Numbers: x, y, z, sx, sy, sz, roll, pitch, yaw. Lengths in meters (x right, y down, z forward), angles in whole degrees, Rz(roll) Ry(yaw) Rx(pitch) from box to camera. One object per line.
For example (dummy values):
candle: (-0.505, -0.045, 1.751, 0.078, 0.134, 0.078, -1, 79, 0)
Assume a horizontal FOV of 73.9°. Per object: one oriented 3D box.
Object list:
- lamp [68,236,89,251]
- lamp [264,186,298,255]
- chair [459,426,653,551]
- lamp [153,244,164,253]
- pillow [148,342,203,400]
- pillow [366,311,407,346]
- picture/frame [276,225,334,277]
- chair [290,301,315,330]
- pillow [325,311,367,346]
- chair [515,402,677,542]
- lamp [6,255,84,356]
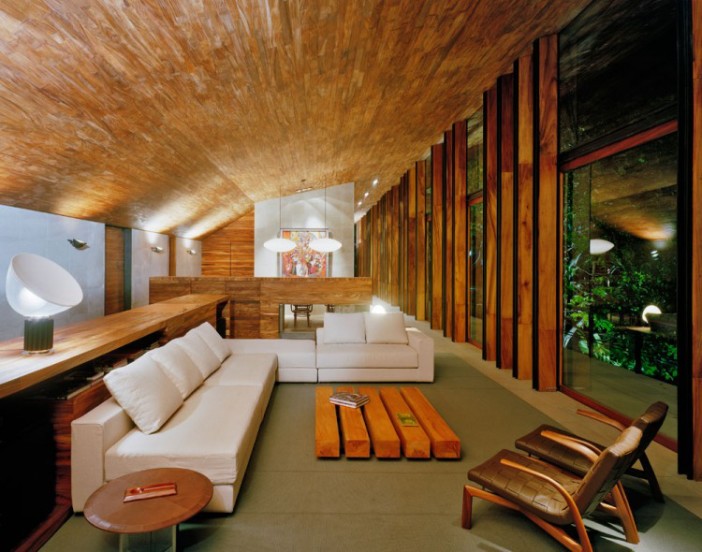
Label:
lamp: (-4.063, -0.492, 6.991, 0.195, 0.205, 0.445, -2, 2, -12)
lamp: (-1.447, -1.118, 9.610, 0.718, 1.291, 1.983, -2, 2, -9)
chair: (1.359, 1.369, 3.237, 1.062, 0.844, 0.835, -4, -4, 45)
lamp: (-3.996, -0.563, 9.659, 0.188, 0.044, 0.154, 22, 17, -44)
pillow: (-1.475, 0.809, 3.977, 0.124, 0.423, 0.402, -31, -43, 7)
pillow: (0.449, 0.686, 5.952, 0.396, 0.413, 0.162, -4, -13, 7)
picture/frame: (-1.030, -0.585, 10.152, 1.132, 1.100, 0.041, 0, -1, -1)
chair: (-0.771, 0.612, 7.385, 0.358, 0.392, 0.343, 0, -5, -6)
pillow: (-0.091, 0.643, 5.807, 0.428, 0.386, 0.126, 0, -17, -8)
chair: (1.746, 1.257, 3.513, 0.854, 0.848, 1.060, 1, 0, -39)
lamp: (-2.337, 0.190, 3.572, 0.457, 0.745, 0.379, -3, 2, -31)
